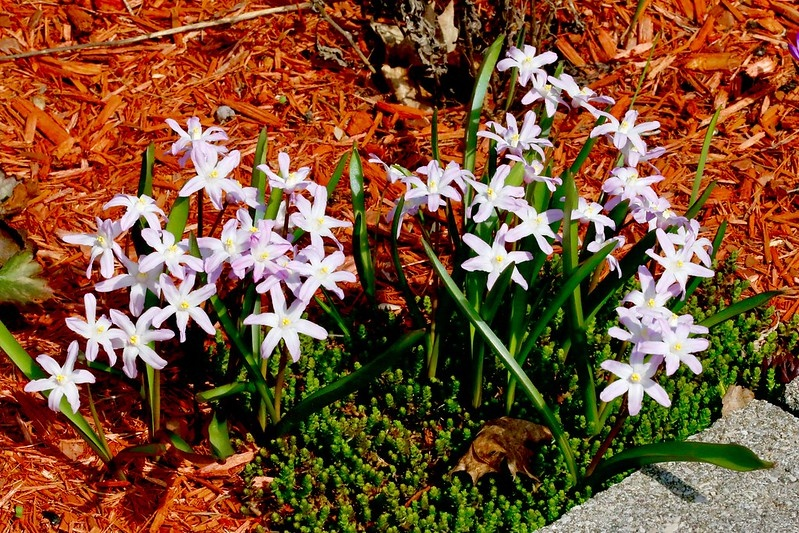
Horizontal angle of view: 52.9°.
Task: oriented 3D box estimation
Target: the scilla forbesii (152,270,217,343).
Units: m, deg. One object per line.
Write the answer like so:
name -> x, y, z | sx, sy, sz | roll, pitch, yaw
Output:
scilla forbesii -> -0.975, 0.178, 3.632 | 0.319, 0.104, 0.339 | 6, 23, 35

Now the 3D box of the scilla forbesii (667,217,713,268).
scilla forbesii -> 1.457, -0.117, 4.044 | 0.253, 0.104, 0.244 | 33, 44, -25

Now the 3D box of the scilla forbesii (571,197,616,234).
scilla forbesii -> 0.949, -0.240, 3.934 | 0.182, 0.050, 0.187 | 10, 50, -11

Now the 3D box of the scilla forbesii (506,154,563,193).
scilla forbesii -> 0.665, -0.455, 3.911 | 0.204, 0.208, 0.077 | 43, 100, 35

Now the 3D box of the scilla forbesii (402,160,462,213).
scilla forbesii -> 0.158, -0.393, 3.950 | 0.251, 0.097, 0.275 | -13, 81, -2

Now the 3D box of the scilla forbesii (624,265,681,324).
scilla forbesii -> 1.175, 0.137, 3.715 | 0.226, 0.102, 0.249 | 2, 69, 0

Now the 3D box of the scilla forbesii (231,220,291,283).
scilla forbesii -> -0.664, -0.088, 3.632 | 0.276, 0.231, 0.102 | 34, 89, -8

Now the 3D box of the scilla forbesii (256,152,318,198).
scilla forbesii -> -0.517, -0.458, 3.857 | 0.263, 0.242, 0.117 | -11, 88, 28

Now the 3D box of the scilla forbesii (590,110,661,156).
scilla forbesii -> 1.113, -0.637, 4.015 | 0.261, 0.257, 0.096 | 9, 88, -16

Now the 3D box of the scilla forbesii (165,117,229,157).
scilla forbesii -> -0.970, -0.635, 3.878 | 0.231, 0.190, 0.076 | -6, 85, -34

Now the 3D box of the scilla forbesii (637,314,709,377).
scilla forbesii -> 1.224, 0.260, 3.604 | 0.284, 0.095, 0.316 | 15, 72, 17

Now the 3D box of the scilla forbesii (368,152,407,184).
scilla forbesii -> -0.084, -0.584, 4.799 | 0.252, 0.089, 0.256 | 23, 20, -29

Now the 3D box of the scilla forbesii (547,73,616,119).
scilla forbesii -> 0.935, -0.881, 4.106 | 0.322, 0.107, 0.323 | 46, 26, 25

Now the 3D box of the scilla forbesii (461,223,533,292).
scilla forbesii -> 0.429, -0.018, 3.737 | 0.306, 0.087, 0.306 | 29, 32, 14

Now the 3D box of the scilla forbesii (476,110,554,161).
scilla forbesii -> 0.614, -0.684, 4.112 | 0.289, 0.125, 0.317 | 21, 74, 6
